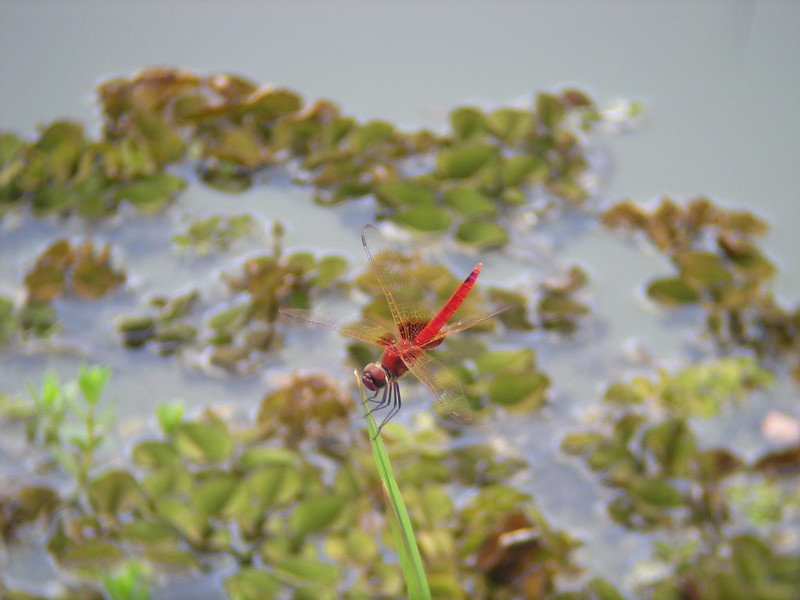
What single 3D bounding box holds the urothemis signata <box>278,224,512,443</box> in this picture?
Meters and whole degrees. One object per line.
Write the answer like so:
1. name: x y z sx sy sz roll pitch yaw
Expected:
1. urothemis signata: 0.018 0.050 1.587 0.284 0.131 0.189 23 70 44
